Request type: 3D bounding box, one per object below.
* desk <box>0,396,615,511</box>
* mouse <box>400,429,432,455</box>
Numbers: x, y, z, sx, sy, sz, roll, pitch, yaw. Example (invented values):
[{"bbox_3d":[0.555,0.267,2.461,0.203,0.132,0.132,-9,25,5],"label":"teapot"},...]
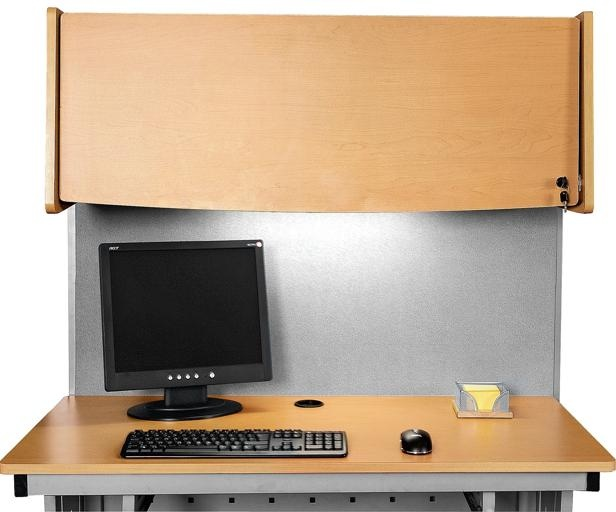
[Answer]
[{"bbox_3d":[0.013,0.642,2.097,1.953,0.292,0.545,-1,-16,-1],"label":"desk"},{"bbox_3d":[0.339,0.579,1.894,0.099,0.040,0.083,0,-4,-3],"label":"mouse"}]
